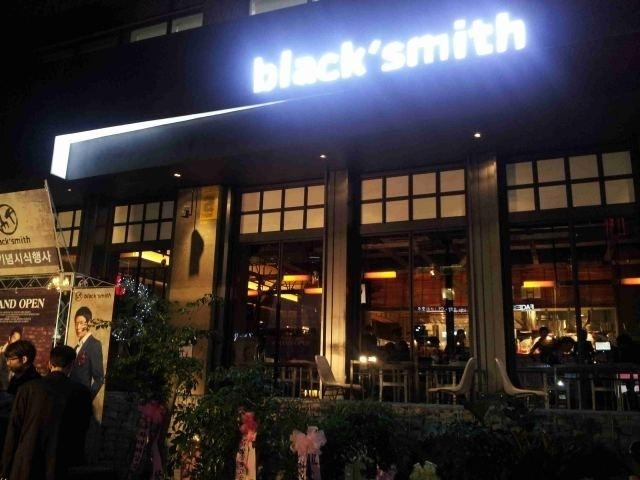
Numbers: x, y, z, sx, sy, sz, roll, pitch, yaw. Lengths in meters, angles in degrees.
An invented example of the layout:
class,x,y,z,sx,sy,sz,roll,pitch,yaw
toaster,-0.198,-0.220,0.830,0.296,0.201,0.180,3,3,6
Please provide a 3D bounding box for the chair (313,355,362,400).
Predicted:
class,x,y,z,sx,sy,sz,roll,pitch,yaw
chair,0.286,2.499,9.129,0.729,0.759,0.476,-5,-11,34

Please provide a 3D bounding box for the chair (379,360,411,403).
class,x,y,z,sx,sy,sz,roll,pitch,yaw
chair,1.378,2.688,9.469,0.577,0.663,1.141,0,-14,7
